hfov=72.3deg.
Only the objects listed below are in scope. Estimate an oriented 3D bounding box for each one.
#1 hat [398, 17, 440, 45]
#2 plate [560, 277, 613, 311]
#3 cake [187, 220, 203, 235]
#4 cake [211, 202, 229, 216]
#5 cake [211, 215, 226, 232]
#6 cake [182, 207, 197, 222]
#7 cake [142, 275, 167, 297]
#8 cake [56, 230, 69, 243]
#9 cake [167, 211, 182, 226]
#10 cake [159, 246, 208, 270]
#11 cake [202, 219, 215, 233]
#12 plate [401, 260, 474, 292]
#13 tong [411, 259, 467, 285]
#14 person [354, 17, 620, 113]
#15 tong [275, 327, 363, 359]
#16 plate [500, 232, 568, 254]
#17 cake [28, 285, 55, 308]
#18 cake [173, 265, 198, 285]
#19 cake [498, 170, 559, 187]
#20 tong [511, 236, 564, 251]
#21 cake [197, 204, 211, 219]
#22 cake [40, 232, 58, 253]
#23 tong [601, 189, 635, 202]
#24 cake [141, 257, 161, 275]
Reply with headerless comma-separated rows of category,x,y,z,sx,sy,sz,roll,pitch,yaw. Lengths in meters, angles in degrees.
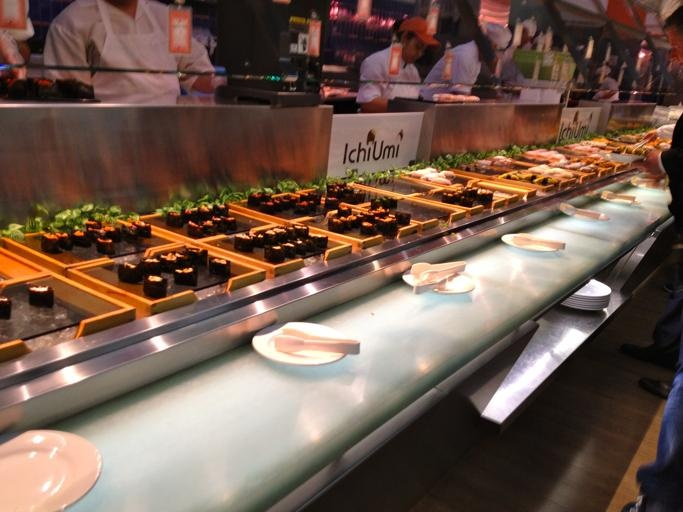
hat,0.590,-1.754,3.610,0.297,0.145,0.190,24,31,2
plate,1.201,0.196,2.308,0.188,0.051,0.231,-11,19,-27
cake,-0.493,-0.095,1.570,0.047,0.038,0.029,35,35,13
cake,-0.464,-0.185,1.777,0.052,0.020,0.065,3,23,-22
cake,-0.424,-0.111,1.617,0.053,0.052,0.049,9,28,8
cake,-0.544,-0.150,1.680,0.048,0.018,0.058,-1,24,-13
cake,-0.462,0.076,1.156,0.027,0.037,0.047,22,22,36
cake,-0.810,-0.059,1.361,0.033,0.017,0.043,-5,30,-40
cake,-0.581,-0.136,1.637,0.059,0.042,0.054,2,28,-12
cake,-0.465,0.000,1.329,0.096,0.031,0.074,13,21,38
cake,-0.448,-0.106,1.579,0.047,0.041,0.042,-1,39,-16
plate,0.337,0.073,1.648,0.175,0.042,0.130,-13,27,-36
tong,0.342,0.049,1.663,0.158,0.038,0.085,-6,20,-22
person,0.784,-1.408,3.629,1.465,0.840,0.700,-7,46,-2
tong,-0.069,0.219,1.166,0.276,0.063,0.069,5,23,3
plate,0.862,-0.058,2.129,0.171,0.041,0.135,10,20,35
cake,-0.677,0.093,1.052,0.045,0.036,0.023,7,30,-8
cake,-0.413,0.045,1.245,0.056,0.034,0.051,-4,22,-19
cake,1.236,-0.495,2.975,0.206,0.044,0.197,-9,22,-26
tong,0.886,-0.055,2.124,0.139,0.029,0.107,9,14,25
cake,-0.495,-0.167,1.731,0.051,0.045,0.053,35,37,30
cake,-0.814,-0.038,1.309,0.042,0.053,0.056,9,16,-18
tong,1.886,-0.412,3.231,0.115,0.042,0.216,-21,30,-35
cake,-0.487,0.027,1.200,0.046,0.038,0.043,-5,20,-19
